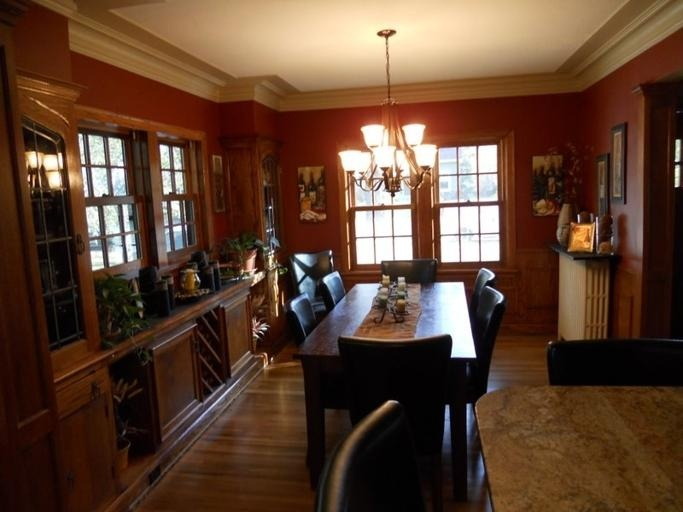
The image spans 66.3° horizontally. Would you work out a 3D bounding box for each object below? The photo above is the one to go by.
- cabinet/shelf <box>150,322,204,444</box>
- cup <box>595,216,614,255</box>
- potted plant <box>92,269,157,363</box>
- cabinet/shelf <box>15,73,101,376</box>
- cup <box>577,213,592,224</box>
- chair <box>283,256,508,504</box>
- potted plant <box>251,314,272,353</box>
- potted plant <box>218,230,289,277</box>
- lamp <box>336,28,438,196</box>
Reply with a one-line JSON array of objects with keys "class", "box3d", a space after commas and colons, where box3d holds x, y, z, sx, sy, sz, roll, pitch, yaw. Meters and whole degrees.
[{"class": "cabinet/shelf", "box3d": [-1.257, 0.962, 3.946, 0.269, 0.709, 0.740, -3, -24, 9]}, {"class": "cup", "box3d": [2.619, -0.228, 5.190, 0.170, 0.367, 0.319, 4, 14, 26]}, {"class": "potted plant", "box3d": [-1.467, 0.334, 3.535, 0.247, 0.475, 0.587, -2, 12, 2]}, {"class": "cabinet/shelf", "box3d": [-1.607, -0.193, 3.012, 0.167, 1.653, 0.490, -1, 12, 6]}, {"class": "cup", "box3d": [2.549, -0.393, 5.477, 0.131, 0.147, 0.137, -2, 12, 0]}, {"class": "chair", "box3d": [0.463, 0.398, 3.811, 1.190, 1.092, 2.304, -1, 6, 7]}, {"class": "potted plant", "box3d": [-0.922, 0.830, 5.686, 0.282, 0.324, 0.310, -5, 7, -16]}, {"class": "potted plant", "box3d": [-0.937, -0.017, 5.527, 0.531, 0.398, 0.365, 4, -5, -18]}, {"class": "lamp", "box3d": [0.378, -1.159, 4.147, 0.691, 1.323, 0.818, -2, 4, 11]}]
